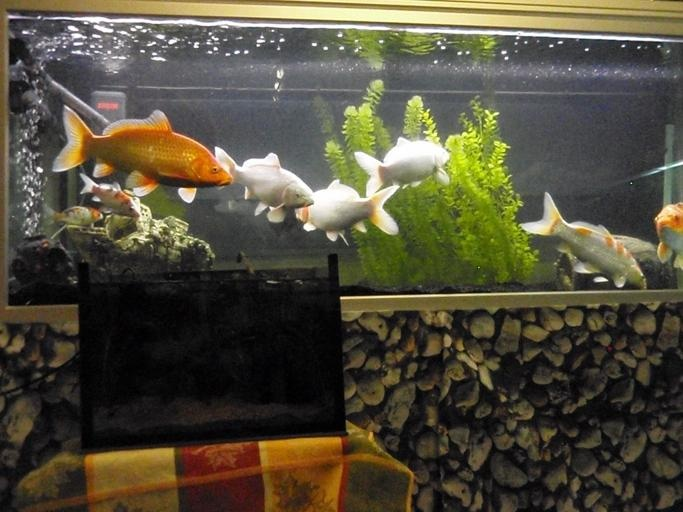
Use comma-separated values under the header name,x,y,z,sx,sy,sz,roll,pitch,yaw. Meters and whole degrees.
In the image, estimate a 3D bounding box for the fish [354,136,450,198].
name,x,y,z,sx,sy,sz,roll,pitch,yaw
fish,0.309,-0.432,2.962,0.458,0.233,0.211,-15,27,5

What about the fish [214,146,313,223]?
name,x,y,z,sx,sy,sz,roll,pitch,yaw
fish,-0.369,-0.338,2.943,0.496,0.282,0.190,18,26,10

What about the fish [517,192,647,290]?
name,x,y,z,sx,sy,sz,roll,pitch,yaw
fish,1.171,-0.073,3.023,0.610,0.473,0.080,-3,3,-11

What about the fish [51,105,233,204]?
name,x,y,z,sx,sy,sz,roll,pitch,yaw
fish,-0.895,-0.457,2.831,0.745,0.376,0.170,8,14,-14

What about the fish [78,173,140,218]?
name,x,y,z,sx,sy,sz,roll,pitch,yaw
fish,-1.057,-0.281,2.814,0.273,0.137,0.062,25,8,-12

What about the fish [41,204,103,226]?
name,x,y,z,sx,sy,sz,roll,pitch,yaw
fish,-1.191,-0.181,2.809,0.274,0.113,0.084,2,0,-7

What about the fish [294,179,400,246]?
name,x,y,z,sx,sy,sz,roll,pitch,yaw
fish,0.004,-0.201,2.968,0.530,0.341,0.162,-3,-14,15
